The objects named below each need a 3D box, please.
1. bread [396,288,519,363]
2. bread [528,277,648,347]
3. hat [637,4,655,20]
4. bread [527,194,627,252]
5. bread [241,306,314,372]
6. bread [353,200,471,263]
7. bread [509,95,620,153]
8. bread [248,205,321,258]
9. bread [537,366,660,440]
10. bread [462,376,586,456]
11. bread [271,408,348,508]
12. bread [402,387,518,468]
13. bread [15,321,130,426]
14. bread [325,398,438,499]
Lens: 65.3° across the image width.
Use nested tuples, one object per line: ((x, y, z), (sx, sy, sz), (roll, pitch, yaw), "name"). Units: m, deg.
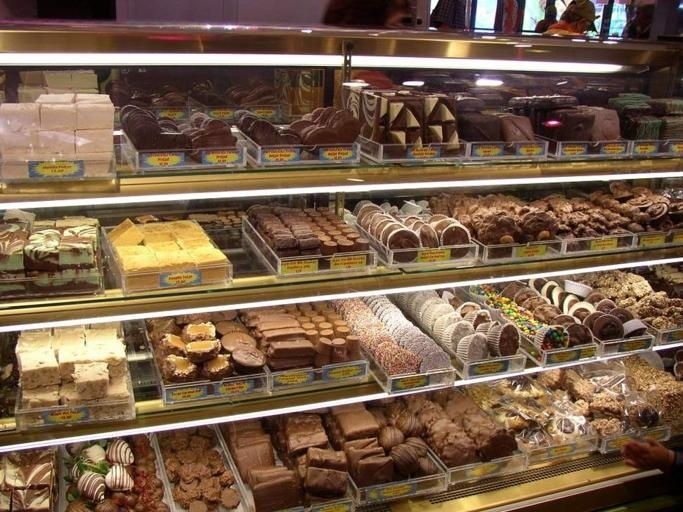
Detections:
((0.676, 0.394, 3.177), (0.332, 0.173, 0.554), (-4, 23, -32), "bread")
((1.574, 0.335, 3.438), (0.393, 0.123, 0.499), (-7, 26, -23), "bread")
((2.067, -1.674, 3.650), (0.097, 0.031, 0.096), (-8, 10, 5), "hat")
((1.396, -0.154, 3.066), (0.429, 0.083, 0.405), (-7, 29, -12), "bread")
((-0.328, 0.438, 2.749), (0.290, 0.097, 0.435), (-3, 27, -22), "bread")
((0.358, -0.160, 2.889), (0.376, 0.122, 0.456), (-4, 18, -17), "bread")
((1.175, -0.730, 2.874), (0.448, 0.147, 0.415), (9, 20, 25), "bread")
((-0.304, -0.149, 2.717), (0.242, 0.066, 0.388), (-4, 26, -25), "bread")
((1.675, 0.916, 3.420), (0.562, 0.119, 0.547), (-9, 25, -23), "bread")
((1.191, 0.981, 3.268), (0.536, 0.107, 0.519), (-10, 24, -29), "bread")
((-0.159, 1.060, 2.842), (0.288, 0.150, 0.468), (-8, 30, -21), "bread")
((0.630, 0.960, 3.082), (0.393, 0.125, 0.439), (-6, 22, -22), "bread")
((-1.282, 0.526, 2.535), (0.446, 0.156, 0.515), (-4, 30, -21), "bread")
((0.231, 1.039, 2.885), (0.461, 0.162, 0.562), (1, 20, -21), "bread")
